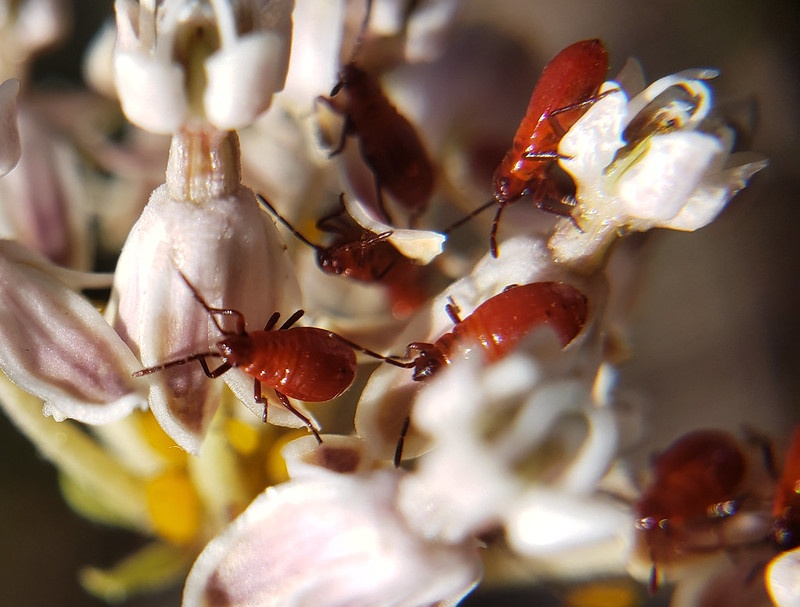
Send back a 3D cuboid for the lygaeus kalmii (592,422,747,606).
[{"bbox_3d":[0.410,0.320,1.319,0.146,0.057,0.235,-15,32,17],"label":"lygaeus kalmii"}]
